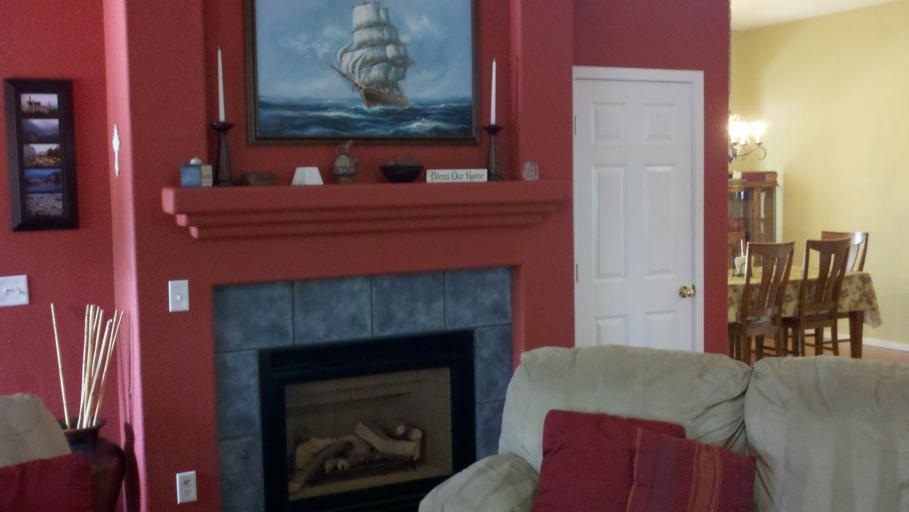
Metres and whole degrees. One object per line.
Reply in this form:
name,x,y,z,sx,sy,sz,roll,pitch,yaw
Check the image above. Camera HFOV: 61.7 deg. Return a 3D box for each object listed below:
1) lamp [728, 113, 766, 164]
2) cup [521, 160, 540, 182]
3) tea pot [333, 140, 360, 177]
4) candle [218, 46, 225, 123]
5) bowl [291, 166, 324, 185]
lamp,3.577,-1.485,9.383,0.432,0.575,1.007,-3,1,35
cup,0.530,-0.592,5.327,0.135,0.180,0.135,0,4,0
tea pot,-0.745,-0.651,5.155,0.179,0.261,0.144,-4,0,-14
candle,-1.531,-1.111,4.945,0.053,0.506,0.171,-4,0,-17
bowl,-0.983,-0.526,5.038,0.207,0.139,0.249,-4,0,-10
